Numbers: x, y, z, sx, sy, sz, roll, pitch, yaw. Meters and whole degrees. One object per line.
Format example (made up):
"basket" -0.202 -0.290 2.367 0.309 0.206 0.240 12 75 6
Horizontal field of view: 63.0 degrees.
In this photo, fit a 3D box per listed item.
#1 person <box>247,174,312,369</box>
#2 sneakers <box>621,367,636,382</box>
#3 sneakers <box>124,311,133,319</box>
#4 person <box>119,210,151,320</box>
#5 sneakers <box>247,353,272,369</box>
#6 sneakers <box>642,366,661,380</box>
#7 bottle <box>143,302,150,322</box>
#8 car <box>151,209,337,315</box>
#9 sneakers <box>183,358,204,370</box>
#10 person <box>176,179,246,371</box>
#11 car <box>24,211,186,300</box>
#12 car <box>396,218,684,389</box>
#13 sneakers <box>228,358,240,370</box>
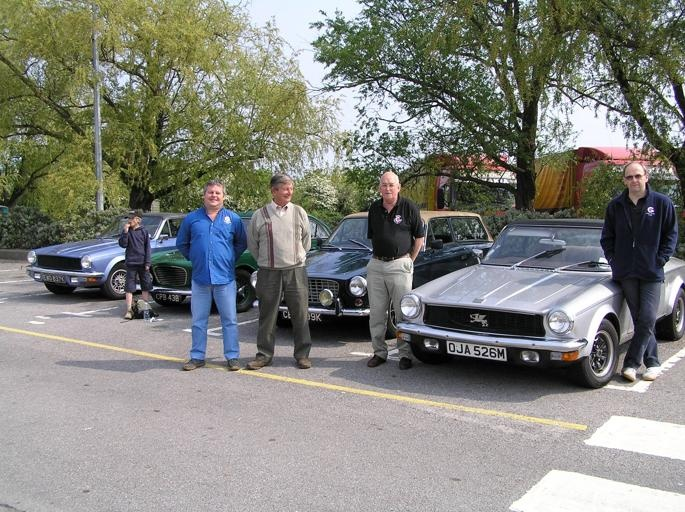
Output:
"person" -0.807 0.184 7.050 0.788 2.441 0.375 -1 5 -5
"sneakers" 3.259 1.332 6.322 0.086 0.106 0.233 12 -7 3
"sneakers" -3.915 1.073 10.237 0.137 0.127 0.226 -3 6 -28
"person" -3.969 0.124 10.736 0.553 1.923 1.531 -2 6 -21
"sneakers" -1.047 1.336 7.086 0.130 0.153 0.341 -2 -6 29
"sneakers" 3.621 1.343 6.491 0.130 0.172 0.398 -7 -9 40
"bottle" -3.560 0.996 10.162 0.184 0.275 0.078 9 -17 -42
"car" -2.100 0.085 11.632 1.959 1.629 3.536 0 2 37
"sneakers" -1.853 1.365 7.033 0.094 0.141 0.285 -3 -9 30
"person" -1.633 0.226 7.077 0.844 2.365 0.616 -1 5 -11
"car" -5.019 0.006 13.571 2.021 1.493 3.920 2 4 31
"car" 2.500 0.466 6.910 3.530 1.800 1.911 -4 6 -35
"sneakers" -1.357 1.343 6.990 0.139 0.135 0.148 -2 6 -18
